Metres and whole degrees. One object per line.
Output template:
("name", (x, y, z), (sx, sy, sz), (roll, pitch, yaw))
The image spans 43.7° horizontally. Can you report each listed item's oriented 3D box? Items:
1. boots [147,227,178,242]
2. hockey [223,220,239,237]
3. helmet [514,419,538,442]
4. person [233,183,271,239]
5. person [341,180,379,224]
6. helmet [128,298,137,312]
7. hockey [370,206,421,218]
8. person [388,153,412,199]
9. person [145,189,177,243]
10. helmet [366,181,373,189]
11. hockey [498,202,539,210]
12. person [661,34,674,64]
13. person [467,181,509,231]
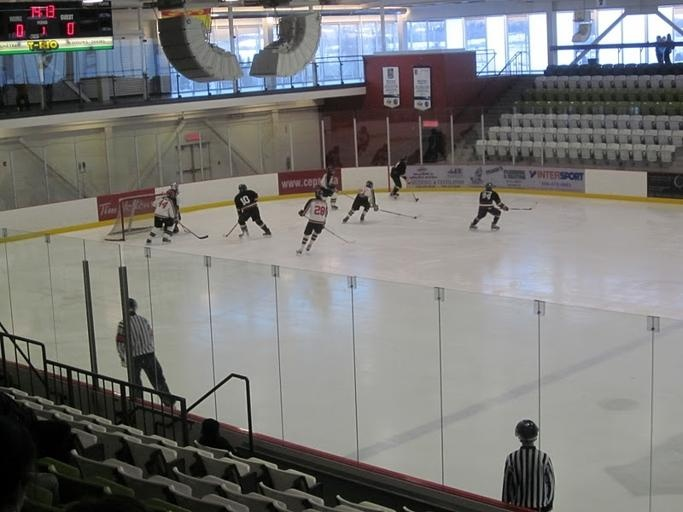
("boots", (-3.950, -0.451, 18.496), (0.434, 0.320, 0.467), (-4, -6, -42))
("hockey", (-2.506, -0.609, 19.298), (0.061, 0.180, 0.547), (27, 49, 14))
("helmet", (1.593, 1.520, 7.306), (0.160, 0.191, 0.193), (5, 33, 12))
("person", (-1.934, -1.018, 18.370), (0.622, 1.180, 1.047), (-4, 13, -5))
("person", (0.492, -1.201, 19.209), (1.269, 0.856, 0.799), (6, -7, 6))
("helmet", (-2.309, 0.545, 9.327), (0.112, 0.139, 0.142), (-3, -2, -14))
("hockey", (1.328, -1.049, 20.478), (0.125, 0.297, 2.067), (-3, 8, -30))
("person", (1.610, -2.196, 22.991), (0.644, 1.313, 0.550), (-5, 49, -3))
("person", (-3.926, -0.890, 18.559), (0.670, 1.137, 1.371), (-5, 13, -11))
("helmet", (0.632, -1.600, 18.858), (0.180, 0.190, 0.204), (-1, -3, -2))
("hockey", (4.208, -1.180, 20.103), (1.089, 0.191, 0.357), (0, 4, 1))
("person", (9.835, -6.198, 25.450), (0.310, 0.846, 0.697), (3, 14, 20))
("person", (3.210, -1.137, 18.472), (0.746, 0.985, 1.199), (0, 13, 10))
